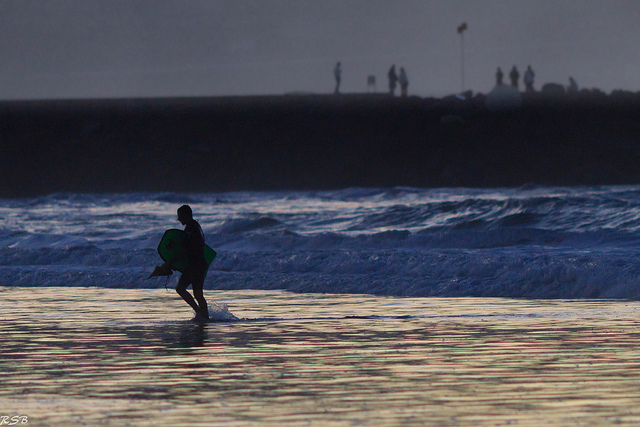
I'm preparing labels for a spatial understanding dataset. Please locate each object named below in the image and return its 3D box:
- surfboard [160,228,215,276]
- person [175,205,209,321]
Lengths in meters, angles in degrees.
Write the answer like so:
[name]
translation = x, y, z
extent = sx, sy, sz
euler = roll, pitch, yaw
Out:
[surfboard]
translation = -4.973, 1.487, 53.343
extent = 2.331, 1.409, 0.281
euler = 11, 3, -9
[person]
translation = -4.722, 1.835, 52.868
extent = 1.054, 3.220, 0.727
euler = -4, 2, -5
